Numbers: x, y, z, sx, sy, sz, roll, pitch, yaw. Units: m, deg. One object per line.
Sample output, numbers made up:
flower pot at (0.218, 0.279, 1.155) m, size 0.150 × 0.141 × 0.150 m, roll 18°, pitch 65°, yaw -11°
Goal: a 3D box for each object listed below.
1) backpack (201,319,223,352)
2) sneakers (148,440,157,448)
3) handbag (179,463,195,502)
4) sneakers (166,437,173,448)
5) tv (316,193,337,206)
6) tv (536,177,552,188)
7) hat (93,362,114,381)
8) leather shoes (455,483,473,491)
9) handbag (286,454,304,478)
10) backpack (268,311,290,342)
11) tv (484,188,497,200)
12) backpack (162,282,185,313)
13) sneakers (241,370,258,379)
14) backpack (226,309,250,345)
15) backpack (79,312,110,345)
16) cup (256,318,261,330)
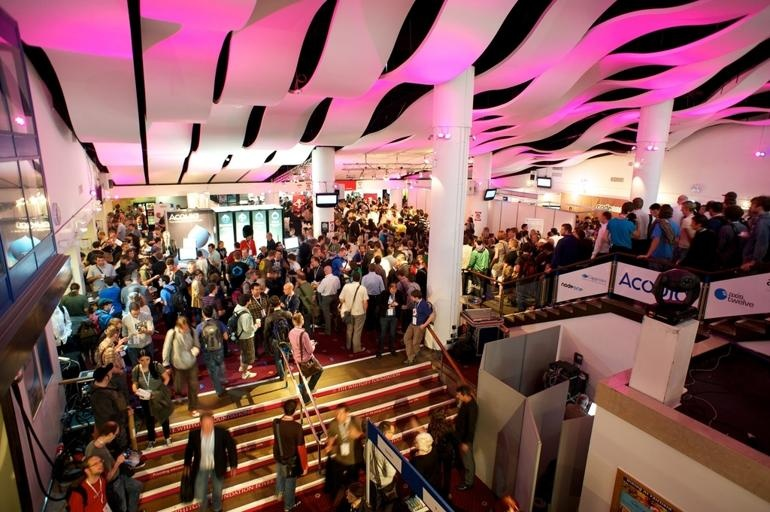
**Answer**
backpack at (-3.551, 1.643, 9.383) m, size 0.411 × 0.563 × 0.295 m, roll -5°, pitch 17°, yaw -18°
sneakers at (-4.519, 3.630, 8.841) m, size 0.071 × 0.212 × 0.082 m, roll 6°, pitch 48°, yaw -27°
handbag at (-3.367, 3.847, 7.790) m, size 0.195 × 0.655 × 0.301 m, roll -4°, pitch 7°, yaw -22°
sneakers at (-4.209, 3.614, 8.899) m, size 0.121 × 0.155 × 0.047 m, roll 7°, pitch -10°, yaw -13°
tv at (-2.281, -2.240, 17.932) m, size 0.918 × 0.504 × 0.616 m, roll -3°, pitch -4°, yaw -9°
tv at (12.013, -5.506, 34.120) m, size 1.051 × 0.606 × 1.238 m, roll 9°, pitch -7°, yaw 6°
hat at (-5.004, 2.053, 8.117) m, size 0.273 × 0.322 × 0.459 m, roll 10°, pitch -24°, yaw -10°
leather shoes at (1.588, 4.551, 9.019) m, size 0.316 × 0.133 × 0.126 m, roll 3°, pitch 5°, yaw -4°
handbag at (-1.602, 3.717, 8.133) m, size 0.272 × 0.513 × 0.193 m, roll -2°, pitch 7°, yaw -8°
backpack at (-2.303, 1.520, 9.945) m, size 0.565 × 0.774 × 0.420 m, roll 1°, pitch 18°, yaw -4°
tv at (5.259, -3.112, 22.741) m, size 0.885 × 0.511 × 0.092 m, roll -9°, pitch 26°, yaw -36°
backpack at (-5.335, 1.049, 11.501) m, size 0.338 × 0.593 × 0.611 m, roll -5°, pitch 18°, yaw -12°
sneakers at (-3.118, 2.709, 10.468) m, size 0.370 × 0.170 × 0.135 m, roll -9°, pitch 35°, yaw -46°
backpack at (-3.273, 1.542, 9.940) m, size 0.404 × 0.619 × 0.393 m, roll 2°, pitch -8°, yaw 45°
backpack at (-6.281, 1.569, 9.821) m, size 0.412 × 0.578 × 0.554 m, roll -5°, pitch 45°, yaw -46°
cup at (-2.861, 1.510, 10.318) m, size 0.119 × 0.335 × 0.110 m, roll 9°, pitch 47°, yaw -9°
